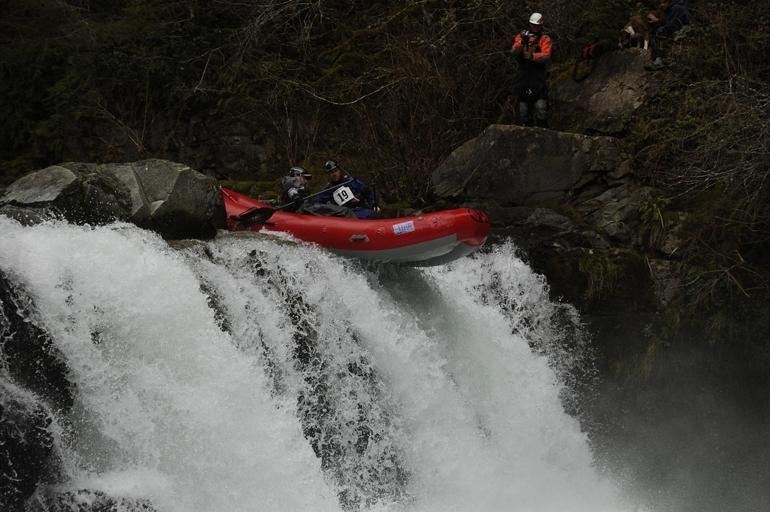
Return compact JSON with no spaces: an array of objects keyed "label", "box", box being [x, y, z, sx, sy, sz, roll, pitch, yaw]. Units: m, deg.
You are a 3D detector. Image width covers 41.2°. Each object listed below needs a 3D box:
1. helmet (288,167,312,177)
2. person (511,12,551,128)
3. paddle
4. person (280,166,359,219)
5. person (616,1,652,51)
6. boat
[{"label":"helmet","box":[-1.889,-1.856,22.701,0.394,0.134,0.276,1,6,-31]},{"label":"person","box":[3.205,-3.944,22.570,0.798,2.165,1.574,0,55,8]},{"label":"paddle","box":[-2.019,-0.955,22.023,2.526,0.253,0.852,-34,14,-37]},{"label":"person","box":[-1.508,-1.326,22.166,1.471,0.802,1.013,3,17,4]},{"label":"person","box":[5.509,-4.996,22.341,0.627,1.023,0.401,21,23,25]},{"label":"boat","box":[-0.208,-0.458,21.788,6.333,1.739,2.074,4,-2,13]}]
